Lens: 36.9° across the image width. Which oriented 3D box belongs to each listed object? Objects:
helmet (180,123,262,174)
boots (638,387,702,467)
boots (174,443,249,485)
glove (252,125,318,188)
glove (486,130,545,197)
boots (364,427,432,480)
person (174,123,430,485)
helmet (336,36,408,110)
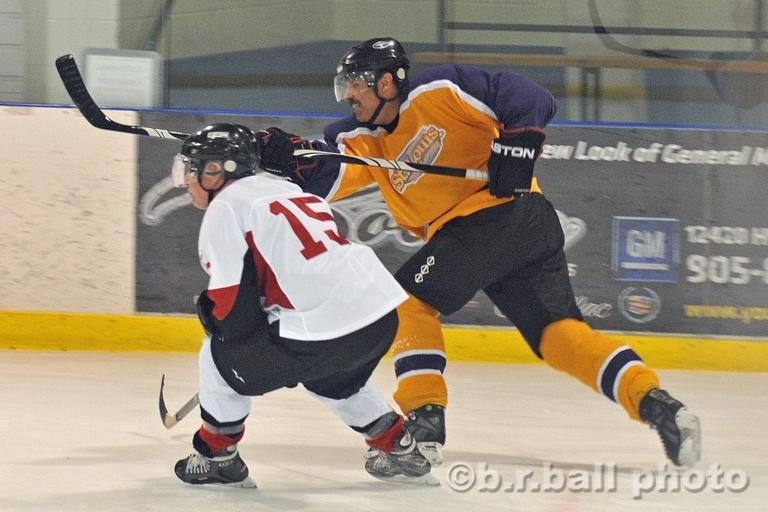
[{"bbox_3d":[-0.840,-0.501,5.697,0.476,0.236,0.312,6,-10,-7],"label":"helmet"},{"bbox_3d":[1.408,0.838,5.594,0.222,0.418,0.226,-31,11,27],"label":"boots"},{"bbox_3d":[-0.838,1.018,5.669,0.460,0.223,0.145,-4,14,27],"label":"boots"},{"bbox_3d":[-0.522,-0.529,5.958,0.374,0.177,0.141,5,-30,-44],"label":"glove"},{"bbox_3d":[0.661,-0.472,5.751,0.348,0.318,0.106,2,30,-10],"label":"glove"},{"bbox_3d":[0.004,1.020,5.754,0.451,0.216,0.221,-4,2,-15],"label":"boots"},{"bbox_3d":[-0.433,0.261,5.582,1.255,1.765,0.392,4,6,-9],"label":"person"},{"bbox_3d":[-0.104,-0.974,6.087,0.461,0.298,0.369,-14,13,-34],"label":"helmet"}]
